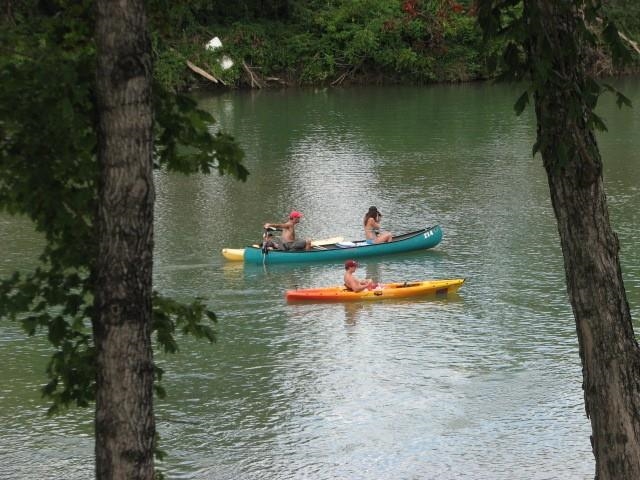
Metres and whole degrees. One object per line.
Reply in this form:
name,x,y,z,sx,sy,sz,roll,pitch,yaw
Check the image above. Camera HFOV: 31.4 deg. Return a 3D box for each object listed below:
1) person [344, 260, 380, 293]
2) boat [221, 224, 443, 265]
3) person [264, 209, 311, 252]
person,0.831,0.786,22.536,0.779,0.814,0.526,-6,18,-2
boat,0.280,0.110,25.845,3.540,0.433,0.701,-4,11,-8
person,-0.693,-0.193,25.587,1.490,0.909,0.589,5,5,-30
